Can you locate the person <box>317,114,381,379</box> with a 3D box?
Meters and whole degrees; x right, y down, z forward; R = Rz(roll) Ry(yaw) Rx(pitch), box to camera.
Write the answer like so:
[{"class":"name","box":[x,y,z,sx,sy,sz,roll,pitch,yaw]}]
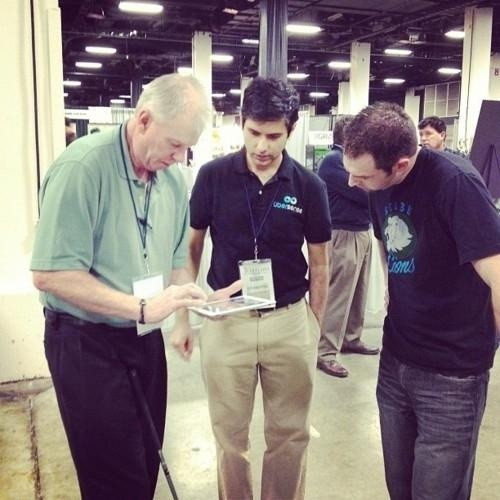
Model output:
[{"class":"person","box":[0.852,-0.092,3.938,0.395,1.740,0.527,-1,20,15]}]
